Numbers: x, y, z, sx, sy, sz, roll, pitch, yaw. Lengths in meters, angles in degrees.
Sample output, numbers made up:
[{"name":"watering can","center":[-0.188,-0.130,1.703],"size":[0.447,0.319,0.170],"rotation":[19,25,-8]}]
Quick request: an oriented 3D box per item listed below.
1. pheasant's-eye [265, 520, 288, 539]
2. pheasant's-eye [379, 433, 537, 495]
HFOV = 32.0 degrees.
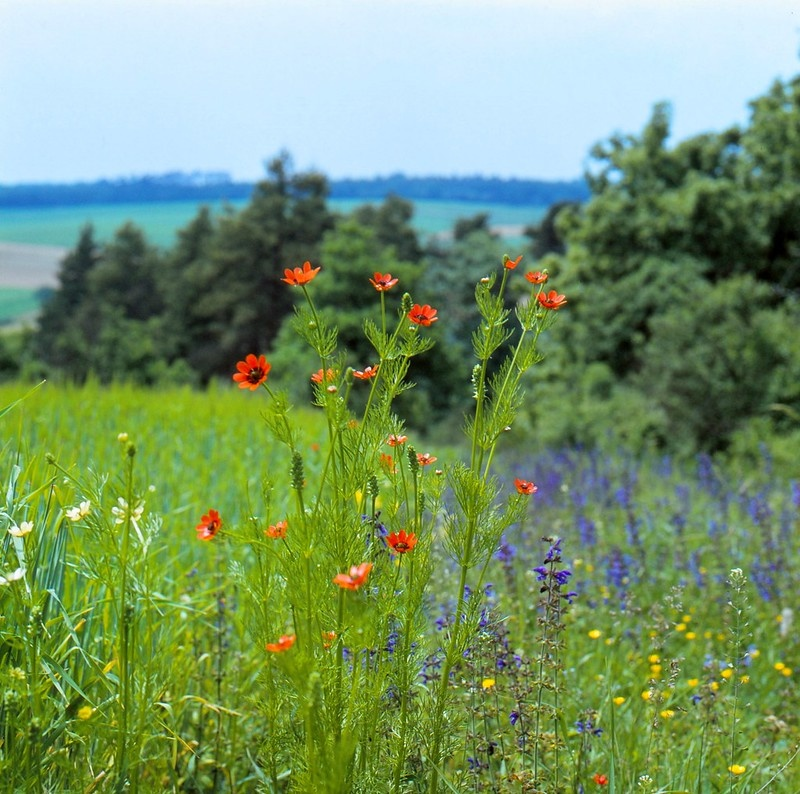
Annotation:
[{"name":"pheasant's-eye","center":[-0.386,0.414,4.419],"size":[0.067,0.041,0.069],"rotation":[-6,1,41]},{"name":"pheasant's-eye","center":[0.197,0.220,4.574],"size":[0.497,0.186,0.286],"rotation":[4,5,2]}]
